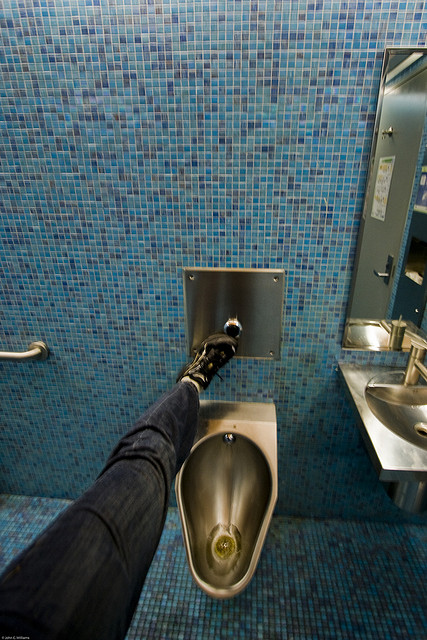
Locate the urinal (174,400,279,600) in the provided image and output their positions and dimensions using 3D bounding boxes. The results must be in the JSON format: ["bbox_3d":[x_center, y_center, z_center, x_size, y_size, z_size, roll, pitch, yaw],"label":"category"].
[{"bbox_3d":[0.088,0.416,1.279,0.321,0.778,0.411,2,-12,4],"label":"urinal"}]

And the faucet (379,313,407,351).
[{"bbox_3d":[0.608,0.035,1.281,0.059,0.104,0.042,21,48,27],"label":"faucet"}]
